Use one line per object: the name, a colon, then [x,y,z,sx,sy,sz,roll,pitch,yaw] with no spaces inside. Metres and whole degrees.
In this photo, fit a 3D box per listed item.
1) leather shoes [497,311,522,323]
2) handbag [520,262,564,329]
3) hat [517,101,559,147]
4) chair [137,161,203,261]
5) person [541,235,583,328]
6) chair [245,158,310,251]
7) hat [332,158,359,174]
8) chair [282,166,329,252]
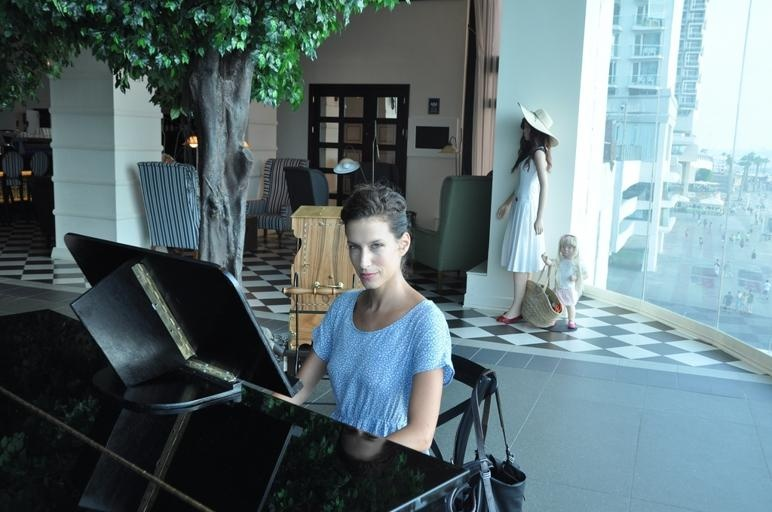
leather shoes: [1.343,0.674,5.574,0.209,0.086,0.119,3,-1,-20]
handbag: [1.696,0.400,5.496,0.282,0.691,0.528,8,2,-11]
hat: [1.636,-1.360,5.379,0.387,0.426,0.405,6,13,18]
chair: [-3.050,-0.673,7.209,1.093,1.356,1.050,-7,4,-26]
person: [1.914,0.254,5.445,0.406,0.989,0.543,6,12,19]
chair: [-1.943,-0.977,8.957,0.868,1.476,0.952,5,7,-1]
hat: [-0.483,-1.114,6.428,0.419,0.191,0.441,0,18,1]
chair: [-1.284,-1.091,8.387,0.513,0.845,0.530,7,26,16]
